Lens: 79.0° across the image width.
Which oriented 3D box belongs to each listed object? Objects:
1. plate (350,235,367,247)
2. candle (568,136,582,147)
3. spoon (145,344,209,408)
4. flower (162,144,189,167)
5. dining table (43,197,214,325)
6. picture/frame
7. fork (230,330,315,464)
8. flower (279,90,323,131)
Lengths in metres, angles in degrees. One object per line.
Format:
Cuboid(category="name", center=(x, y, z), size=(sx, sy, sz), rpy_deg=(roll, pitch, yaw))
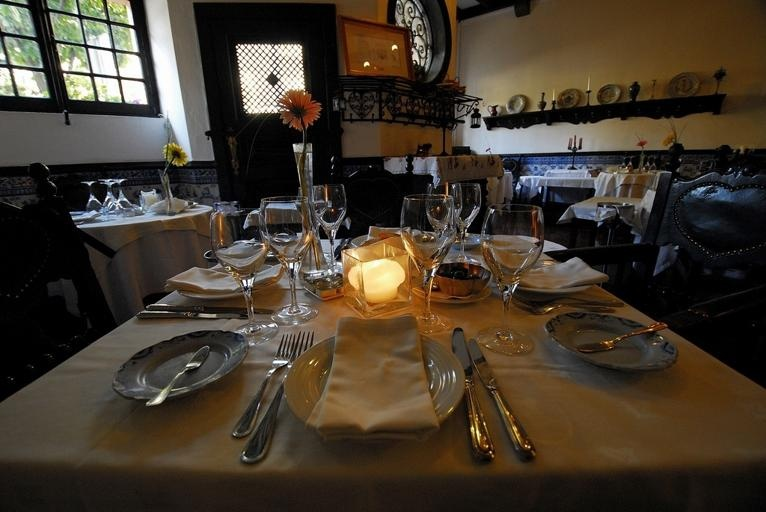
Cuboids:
Cuboid(category="plate", center=(-0.089, -0.055, 1.731), size=(0.051, 0.039, 0.047), rpy_deg=(7, 22, 11))
Cuboid(category="candle", center=(2.806, -1.689, 6.897), size=(0.217, 0.190, 0.220), rpy_deg=(15, 23, 39))
Cuboid(category="spoon", center=(-0.499, 0.277, 1.205), size=(0.048, 0.043, 0.278), rpy_deg=(-2, 25, 13))
Cuboid(category="flower", center=(-1.307, -0.637, 2.948), size=(0.109, 0.157, 0.358), rpy_deg=(-7, 19, -21))
Cuboid(category="dining table", center=(-1.255, 0.012, 2.415), size=(0.647, 0.426, 0.666), rpy_deg=(-1, 6, 7))
Cuboid(category="picture/frame", center=(-0.072, -1.610, 3.613), size=(0.611, 0.432, 0.049), rpy_deg=(-7, 9, -31))
Cuboid(category="fork", center=(-0.276, 0.330, 1.171), size=(0.089, 0.023, 0.359), rpy_deg=(4, 38, 9))
Cuboid(category="flower", center=(-0.265, -0.490, 1.567), size=(0.125, 0.133, 0.169), rpy_deg=(9, 20, 26))
